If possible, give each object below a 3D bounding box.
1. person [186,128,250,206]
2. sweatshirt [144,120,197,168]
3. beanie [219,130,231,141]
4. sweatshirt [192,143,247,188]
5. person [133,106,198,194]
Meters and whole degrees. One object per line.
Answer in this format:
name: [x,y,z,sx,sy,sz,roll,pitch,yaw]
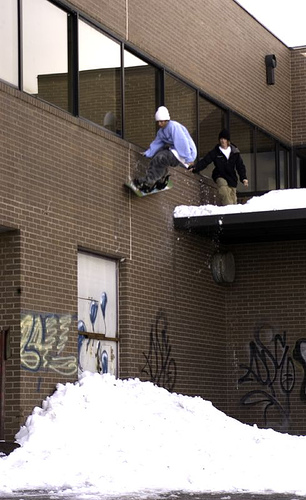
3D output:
person: [1.130,-1.350,17.786,0.815,1.623,0.541,-9,39,-2]
sweatshirt: [0.222,-1.621,15.507,0.716,0.714,0.537,-1,10,18]
beanie: [1.219,-1.953,17.634,0.176,0.152,0.323,5,9,2]
sweatshirt: [1.166,-1.425,17.609,0.805,0.715,0.852,4,9,-4]
person: [0.206,-1.427,15.284,0.921,1.708,0.940,7,-8,-16]
